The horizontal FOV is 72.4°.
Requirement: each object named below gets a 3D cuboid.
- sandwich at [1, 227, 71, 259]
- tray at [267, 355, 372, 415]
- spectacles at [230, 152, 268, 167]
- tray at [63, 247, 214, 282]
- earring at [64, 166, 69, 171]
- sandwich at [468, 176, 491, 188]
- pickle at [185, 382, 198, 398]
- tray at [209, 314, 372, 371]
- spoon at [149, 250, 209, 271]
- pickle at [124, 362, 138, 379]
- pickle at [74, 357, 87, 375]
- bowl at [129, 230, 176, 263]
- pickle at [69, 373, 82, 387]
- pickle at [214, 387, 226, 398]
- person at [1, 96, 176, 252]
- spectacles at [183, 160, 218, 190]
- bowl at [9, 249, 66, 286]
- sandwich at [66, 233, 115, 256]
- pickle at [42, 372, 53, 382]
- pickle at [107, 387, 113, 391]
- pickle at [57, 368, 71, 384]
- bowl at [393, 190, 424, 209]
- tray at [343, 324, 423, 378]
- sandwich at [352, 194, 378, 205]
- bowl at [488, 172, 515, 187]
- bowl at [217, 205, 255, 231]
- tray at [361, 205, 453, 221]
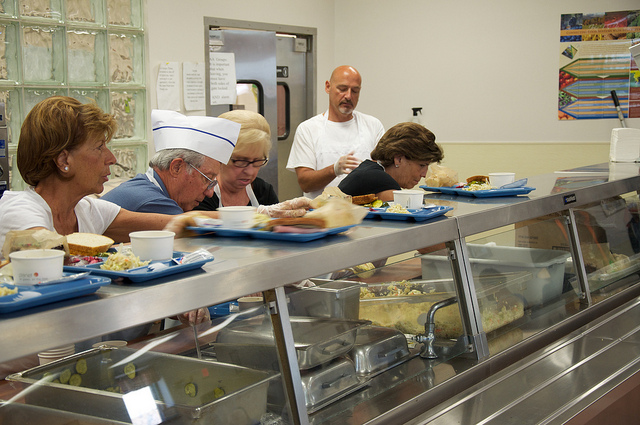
[{"bbox_3d":[-0.621,0.059,0.956,0.115,0.046,0.083,-3,0,12],"label":"sandwich"},{"bbox_3d":[0.005,0.440,1.188,0.132,0.046,0.184,0,7,42],"label":"tray"},{"bbox_3d":[-0.356,-0.257,2.195,0.184,0.065,0.059,-4,14,-14],"label":"spectacles"},{"bbox_3d":[-0.393,0.115,0.983,0.292,0.030,0.191,1,13,6],"label":"tray"},{"bbox_3d":[-0.827,-0.144,1.431,0.016,0.015,0.004,6,0,-20],"label":"earring"},{"bbox_3d":[0.788,-0.148,2.157,0.074,0.029,0.085,3,-6,-41],"label":"sandwich"},{"bbox_3d":[-0.287,0.396,0.979,0.027,0.027,0.018,-4,14,-16],"label":"pickle"},{"bbox_3d":[-0.088,0.327,1.105,0.225,0.056,0.233,0,2,29],"label":"tray"},{"bbox_3d":[-0.309,0.101,0.990,0.038,0.020,0.142,26,22,38],"label":"spoon"},{"bbox_3d":[-0.404,0.340,0.941,0.026,0.028,0.018,-11,17,-39],"label":"pickle"},{"bbox_3d":[-0.505,0.324,0.924,0.029,0.038,0.005,1,-6,-33],"label":"pickle"},{"bbox_3d":[-0.383,0.075,1.012,0.081,0.043,0.075,0,1,0],"label":"bowl"},{"bbox_3d":[-0.512,0.350,0.917,0.024,0.022,0.005,10,-12,3],"label":"pickle"},{"bbox_3d":[-0.227,0.407,0.993,0.023,0.017,0.012,-4,14,-14],"label":"pickle"},{"bbox_3d":[-0.740,-0.118,1.667,0.566,0.532,0.813,-4,12,-5],"label":"person"},{"bbox_3d":[-0.488,-0.151,1.840,0.034,0.109,0.107,-38,5,-12],"label":"spectacles"},{"bbox_3d":[-0.534,0.091,0.825,0.079,0.044,0.076,0,8,0],"label":"bowl"},{"bbox_3d":[-0.591,0.080,1.124,0.095,0.037,0.167,-9,15,-33],"label":"sandwich"},{"bbox_3d":[-0.557,0.338,0.899,0.020,0.017,0.009,-2,13,-7],"label":"pickle"},{"bbox_3d":[-0.437,0.369,0.916,0.010,0.004,0.006,-2,13,-8],"label":"pickle"},{"bbox_3d":[-0.531,0.339,0.910,0.022,0.026,0.015,-3,14,-10],"label":"pickle"},{"bbox_3d":[0.318,-0.040,1.538,0.077,0.047,0.076,0,-1,0],"label":"bowl"},{"bbox_3d":[0.176,0.400,1.344,0.141,0.047,0.190,3,9,38],"label":"tray"},{"bbox_3d":[0.159,-0.052,1.667,0.101,0.035,0.066,-7,14,-25],"label":"sandwich"},{"bbox_3d":[0.873,-0.158,2.101,0.085,0.060,0.080,-1,7,0],"label":"bowl"},{"bbox_3d":[-0.246,0.014,1.326,0.083,0.049,0.081,0,4,0],"label":"bowl"},{"bbox_3d":[0.306,0.005,1.518,0.295,0.036,0.148,2,13,10],"label":"tray"}]
